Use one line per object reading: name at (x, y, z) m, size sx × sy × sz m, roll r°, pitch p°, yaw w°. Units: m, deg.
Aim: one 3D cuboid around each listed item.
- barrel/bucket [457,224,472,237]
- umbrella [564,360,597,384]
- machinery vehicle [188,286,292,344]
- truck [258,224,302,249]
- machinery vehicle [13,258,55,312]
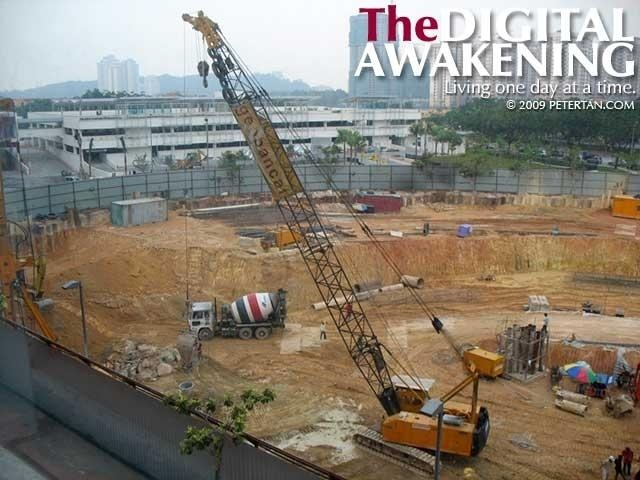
barrel/bucket at (14.139, -0.898, 64.582) m, size 1.183 × 1.279 × 1.413 m, roll 8°, pitch 9°, yaw 33°
umbrella at (15.941, 8.257, 40.582) m, size 1.296 × 1.056 × 1.980 m, roll -5°, pitch 10°, yaw -24°
machinery vehicle at (-5.810, 5.578, 47.242) m, size 6.641 × 3.187 × 2.521 m, roll -1°, pitch 1°, yaw -9°
truck at (-4.026, -0.133, 60.297) m, size 3.639 × 1.800 × 1.958 m, roll -12°, pitch 19°, yaw -35°
machinery vehicle at (-19.790, 3.073, 46.566) m, size 2.183 × 3.202 × 2.418 m, roll -16°, pitch 8°, yaw 20°
